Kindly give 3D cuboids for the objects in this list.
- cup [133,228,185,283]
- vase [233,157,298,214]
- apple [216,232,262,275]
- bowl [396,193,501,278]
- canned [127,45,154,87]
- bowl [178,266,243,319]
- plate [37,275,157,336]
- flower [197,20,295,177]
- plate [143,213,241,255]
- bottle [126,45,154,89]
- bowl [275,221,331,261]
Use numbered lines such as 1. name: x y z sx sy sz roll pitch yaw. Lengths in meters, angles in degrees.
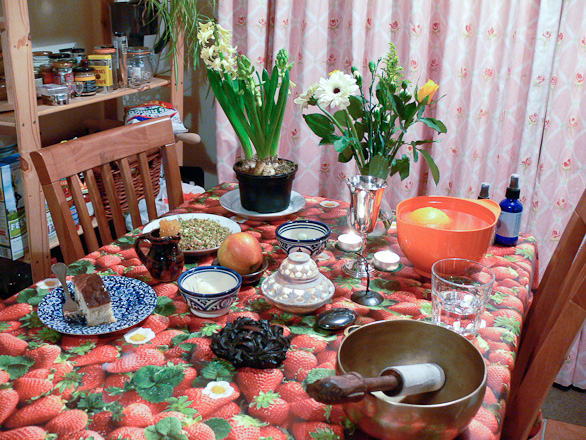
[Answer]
1. cup: -0.306 0.075 1.004 0.122 0.128 0.094 3 26 1
2. vase: -0.090 -0.138 1.337 0.175 0.115 0.181 -1 22 -6
3. apple: -0.125 0.084 0.996 0.097 0.096 0.090 -12 -18 43
4. bowl: 0.410 0.020 1.046 0.249 0.148 0.204 -6 27 -10
5. canned: -0.867 -0.856 2.276 0.193 0.192 0.196 1 19 -4
6. bowl: -0.170 0.141 0.851 0.111 0.066 0.111 3 29 -2
7. plate: -0.393 0.177 0.837 0.139 0.019 0.143 9 26 3
8. flower: -0.144 -0.402 1.364 0.318 0.471 0.379 -2 29 -9
9. plate: -0.268 0.014 1.164 0.158 0.037 0.156 7 27 7
10. bottle: -0.811 -0.854 2.282 0.197 0.196 0.200 1 18 -3
11. bowl: 0.018 0.032 1.045 0.105 0.061 0.106 -2 18 1
